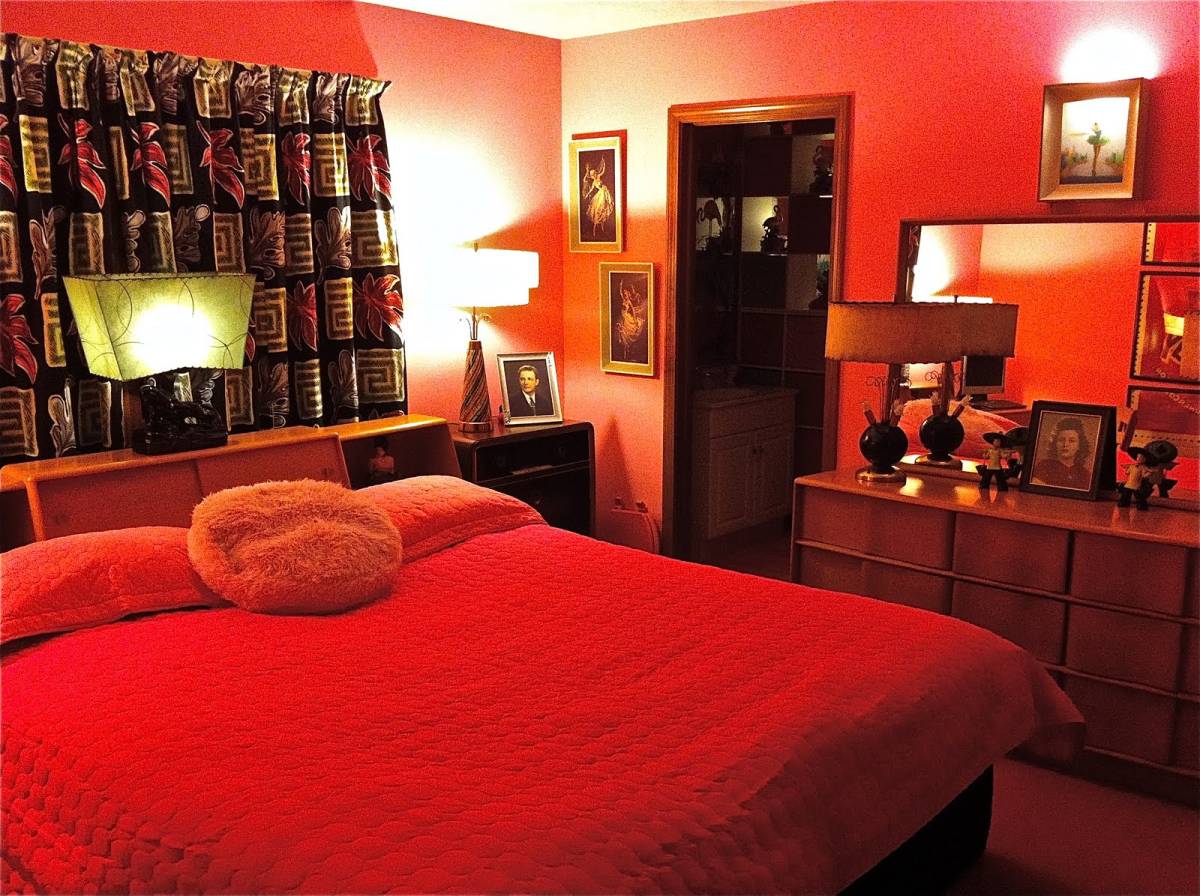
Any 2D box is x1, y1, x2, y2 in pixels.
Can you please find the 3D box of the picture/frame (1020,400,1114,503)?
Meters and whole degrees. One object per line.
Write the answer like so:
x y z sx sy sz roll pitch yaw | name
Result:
1.865 0.003 3.484 0.313 0.376 0.221 9 22 18 | picture/frame

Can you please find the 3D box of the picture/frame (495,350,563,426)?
-0.425 -0.326 4.768 0.397 0.441 0.047 -9 -2 -33 | picture/frame

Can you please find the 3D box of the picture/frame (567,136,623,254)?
-0.028 -1.488 4.973 0.370 0.661 0.091 7 16 33 | picture/frame

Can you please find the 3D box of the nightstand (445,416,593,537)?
-0.403 0.209 4.835 0.712 0.641 0.409 -10 13 -19 | nightstand

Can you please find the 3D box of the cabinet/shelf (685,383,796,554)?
0.835 0.126 5.303 0.546 0.908 0.964 5 10 40 | cabinet/shelf

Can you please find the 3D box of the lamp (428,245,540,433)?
-0.631 -0.608 4.585 0.411 0.946 0.488 7 16 34 | lamp

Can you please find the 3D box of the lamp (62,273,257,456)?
-1.756 -0.326 3.495 0.439 0.689 0.604 9 14 41 | lamp
